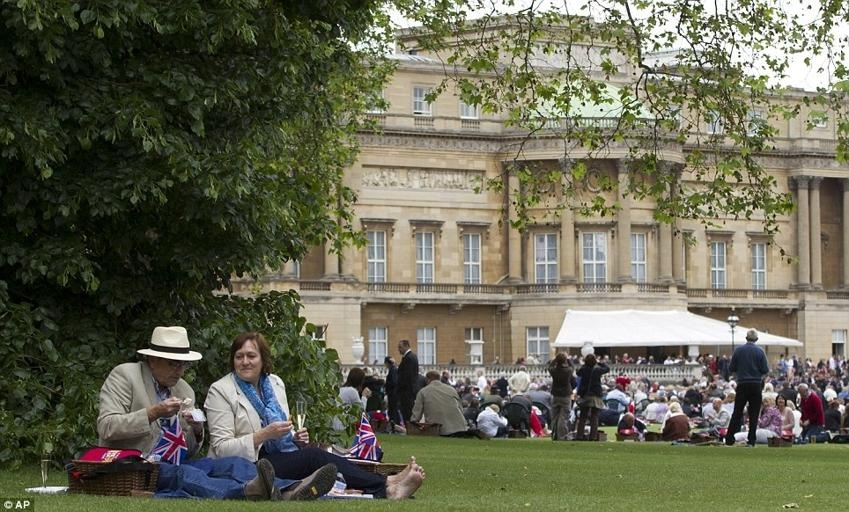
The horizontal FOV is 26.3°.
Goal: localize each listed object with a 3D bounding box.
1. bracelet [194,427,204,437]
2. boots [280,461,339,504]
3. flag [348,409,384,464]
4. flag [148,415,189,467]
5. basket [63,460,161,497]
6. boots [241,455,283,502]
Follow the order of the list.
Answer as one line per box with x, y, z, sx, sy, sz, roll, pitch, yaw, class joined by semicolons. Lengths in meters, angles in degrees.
-4.186;3.285;33.573;0.169;0.175;0.208;0;-15;-5;bracelet
-1.948;4.220;33.187;1.364;0.429;0.603;-22;-17;18;boots
-1.098;3.562;34.880;1.005;0.990;0.780;0;-11;-5;flag
-4.757;3.466;33.450;0.795;0.829;0.046;21;-1;-5;flag
-5.758;4.119;33.273;1.054;0.429;0.819;-2;-7;14;basket
-2.958;3.984;33.033;0.467;0.995;0.357;-3;13;21;boots
